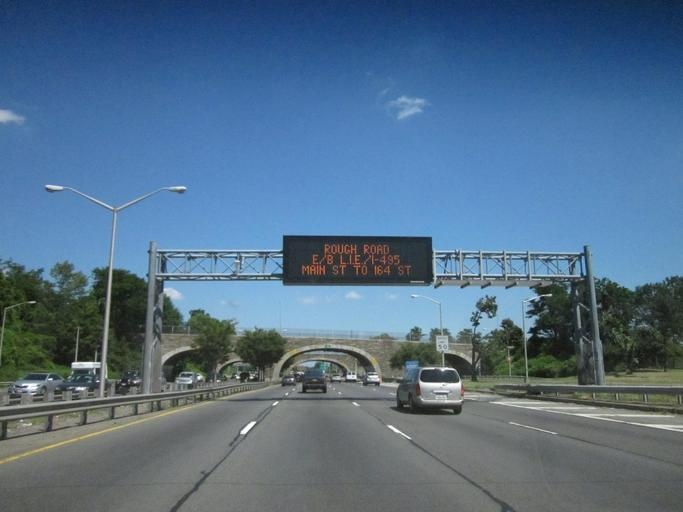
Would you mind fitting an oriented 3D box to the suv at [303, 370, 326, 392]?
[{"bbox_3d":[-2.026,9.159,43.747,1.359,1.614,2.147,10,-16,-40],"label":"suv"}]

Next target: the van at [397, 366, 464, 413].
[{"bbox_3d":[3.573,5.533,24.929,1.534,1.306,2.928,1,-10,0],"label":"van"}]

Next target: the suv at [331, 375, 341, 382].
[{"bbox_3d":[-1.071,23.680,115.276,1.671,1.518,3.719,0,-19,1],"label":"suv"}]
